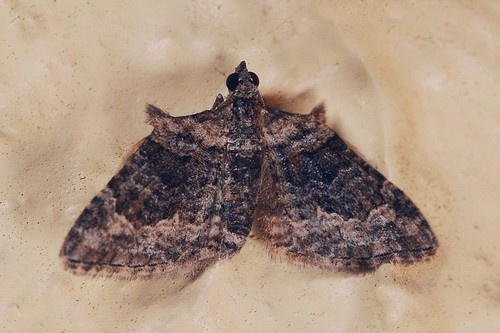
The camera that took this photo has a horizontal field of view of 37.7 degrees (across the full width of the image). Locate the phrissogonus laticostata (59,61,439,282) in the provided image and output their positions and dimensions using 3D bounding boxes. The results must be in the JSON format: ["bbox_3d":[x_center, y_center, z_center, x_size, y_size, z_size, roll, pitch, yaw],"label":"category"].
[{"bbox_3d":[-0.226,-1.127,30.427,15.233,5.180,10.173,-3,56,-15],"label":"phrissogonus laticostata"}]
